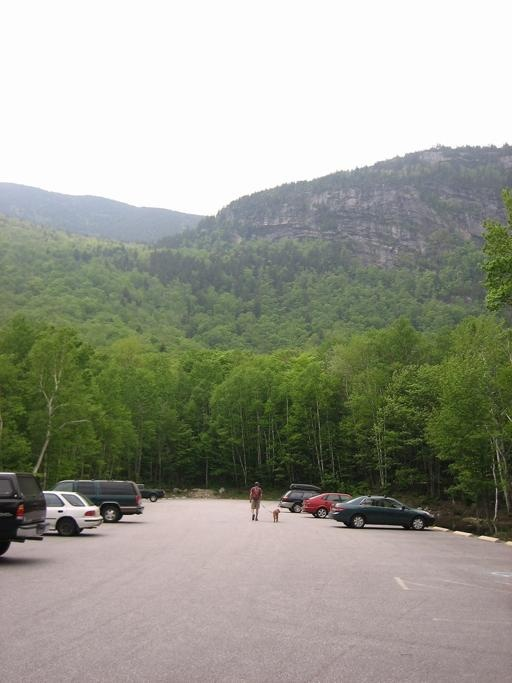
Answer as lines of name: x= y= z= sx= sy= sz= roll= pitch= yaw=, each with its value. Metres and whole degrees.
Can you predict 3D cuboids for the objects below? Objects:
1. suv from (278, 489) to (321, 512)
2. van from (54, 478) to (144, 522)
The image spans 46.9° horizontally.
suv: x=3.766 y=12.802 z=47.522 sx=3.734 sy=1.497 sz=1.800 roll=-2 pitch=-4 yaw=-9
van: x=-7.388 y=8.087 z=29.200 sx=4.650 sy=1.975 sz=2.184 roll=4 pitch=-10 yaw=-7
